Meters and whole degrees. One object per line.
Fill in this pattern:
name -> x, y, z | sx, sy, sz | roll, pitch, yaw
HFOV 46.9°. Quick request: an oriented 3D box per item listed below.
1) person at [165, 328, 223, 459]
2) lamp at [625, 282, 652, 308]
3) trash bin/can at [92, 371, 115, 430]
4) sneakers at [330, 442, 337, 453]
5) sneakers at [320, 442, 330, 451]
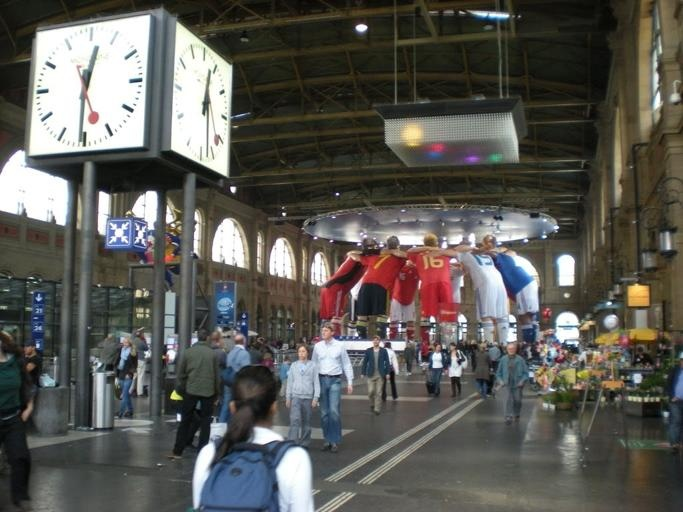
person -> -2.464, 2.347, 13.363 | 0.747, 2.168, 0.504 | 3, -22, -9
lamp -> 9.142, 1.192, 24.197 | 0.625, 0.757, 0.631 | -2, -8, 20
trash bin/can -> -4.899, 2.931, 16.081 | 0.489, 1.104, 0.524 | -5, -9, 21
sneakers -> -0.151, 3.386, 13.969 | 0.105, 0.121, 0.289 | 1, -12, 1
sneakers -> -0.298, 3.396, 14.100 | 0.129, 0.134, 0.231 | 7, -10, -37
